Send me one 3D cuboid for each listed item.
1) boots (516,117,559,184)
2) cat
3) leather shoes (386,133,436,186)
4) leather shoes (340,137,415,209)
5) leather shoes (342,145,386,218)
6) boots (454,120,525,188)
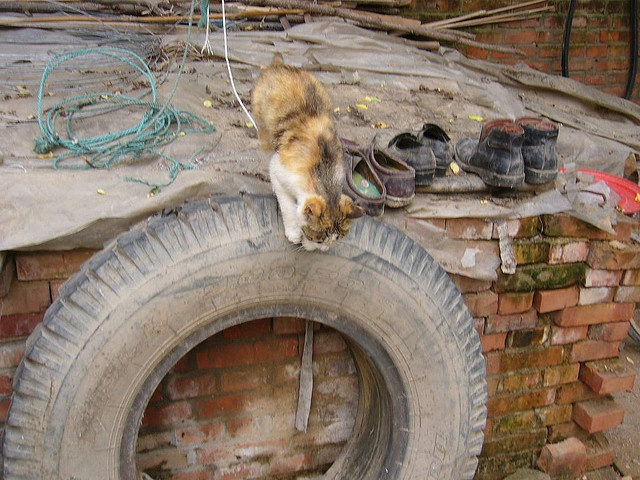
[{"bbox_3d":[1.382,-0.566,4.673,0.202,0.521,0.360,1,-77,-4],"label":"boots"},{"bbox_3d":[-0.133,-0.592,4.311,0.385,1.475,0.562,-7,-19,-18],"label":"cat"},{"bbox_3d":[0.527,-0.556,4.443,0.170,0.449,0.187,-20,-45,-14],"label":"leather shoes"},{"bbox_3d":[0.307,-0.474,4.378,0.215,0.639,0.244,-21,-32,-24],"label":"leather shoes"},{"bbox_3d":[0.220,-0.344,4.254,0.188,0.440,0.153,-24,-20,-11],"label":"leather shoes"},{"bbox_3d":[1.038,-0.592,4.570,0.239,0.540,0.377,-14,-58,-33],"label":"boots"}]
